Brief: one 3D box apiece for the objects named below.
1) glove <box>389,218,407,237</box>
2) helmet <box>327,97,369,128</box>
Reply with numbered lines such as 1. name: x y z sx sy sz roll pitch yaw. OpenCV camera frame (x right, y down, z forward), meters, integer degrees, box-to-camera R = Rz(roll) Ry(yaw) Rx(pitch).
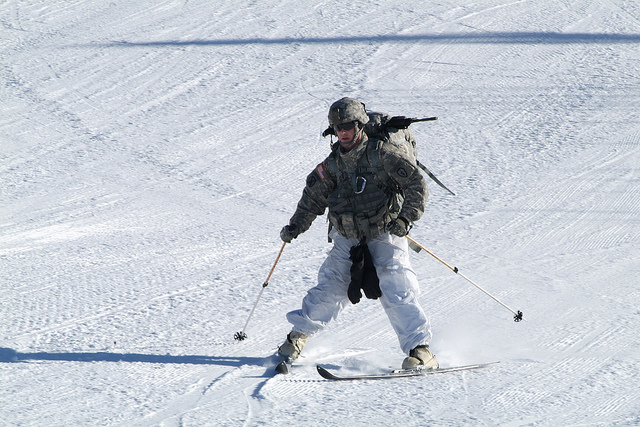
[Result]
1. glove: 1.025 0.189 13.020 0.134 0.208 0.222 -26 28 -35
2. helmet: 0.361 -1.348 13.243 0.615 0.256 0.490 -6 -5 21
